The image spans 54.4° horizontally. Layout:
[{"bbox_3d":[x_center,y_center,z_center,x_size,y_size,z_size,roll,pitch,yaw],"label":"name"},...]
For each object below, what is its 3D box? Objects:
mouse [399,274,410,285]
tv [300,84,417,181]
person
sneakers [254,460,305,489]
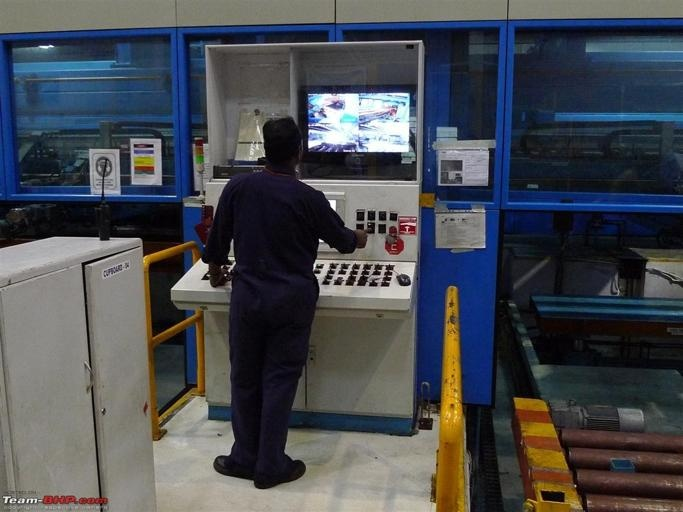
[{"bbox_3d":[0.378,0.146,3.996,0.073,0.053,0.097,-8,15,-37],"label":"mouse"},{"bbox_3d":[0.131,-0.833,4.380,0.690,0.522,0.094,1,6,6],"label":"tv"},{"bbox_3d":[-0.381,0.290,3.745,0.784,2.094,0.374,0,12,-6],"label":"person"},{"bbox_3d":[-0.357,1.254,3.926,0.117,0.139,0.324,5,3,41],"label":"sneakers"}]
